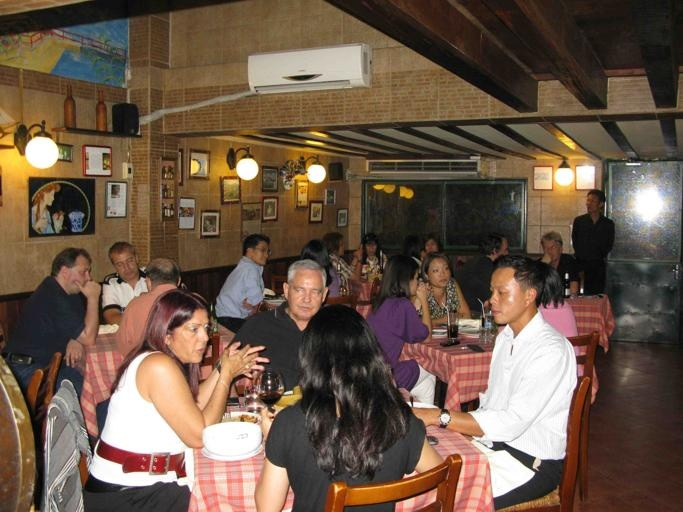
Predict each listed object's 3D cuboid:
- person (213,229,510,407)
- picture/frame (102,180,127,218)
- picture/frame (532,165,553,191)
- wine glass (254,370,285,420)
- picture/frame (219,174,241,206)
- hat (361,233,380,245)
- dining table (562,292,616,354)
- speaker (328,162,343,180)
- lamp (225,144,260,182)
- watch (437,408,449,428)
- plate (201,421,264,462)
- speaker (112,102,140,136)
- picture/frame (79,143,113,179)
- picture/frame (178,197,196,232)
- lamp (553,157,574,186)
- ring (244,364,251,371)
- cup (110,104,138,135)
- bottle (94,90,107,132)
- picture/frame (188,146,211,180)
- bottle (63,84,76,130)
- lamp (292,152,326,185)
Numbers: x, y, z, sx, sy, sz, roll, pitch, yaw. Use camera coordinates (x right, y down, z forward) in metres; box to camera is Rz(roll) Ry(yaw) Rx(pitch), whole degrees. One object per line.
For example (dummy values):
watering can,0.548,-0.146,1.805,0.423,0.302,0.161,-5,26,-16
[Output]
person,0.055,0.555,3.810,1.252,0.496,1.308,3,8,-3
picture/frame,-2.570,-0.638,6.481,0.052,0.419,0.319,2,4,18
picture/frame,3.502,-1.330,9.667,0.411,0.610,0.024,0,2,22
wine glass,-0.316,0.659,2.579,0.106,0.260,0.113,2,9,23
picture/frame,-1.581,-0.939,8.029,0.043,0.388,0.430,3,7,26
hat,0.443,-0.257,8.240,0.170,0.197,0.242,3,4,7
dining table,2.752,0.631,6.063,0.767,0.465,0.798,1,3,31
speaker,-0.089,-1.557,10.384,0.169,0.335,0.332,-3,-3,38
lamp,-1.317,-1.320,8.128,0.490,0.683,0.406,-1,0,29
watch,0.489,0.758,2.626,0.052,0.071,0.074,10,33,3
plate,-0.441,0.772,2.333,0.243,0.136,0.129,0,4,-15
speaker,-2.431,-1.543,6.390,0.201,0.360,0.262,4,8,20
picture/frame,-2.667,-1.033,6.240,0.425,0.330,0.031,6,8,22
picture/frame,-1.965,-0.548,7.267,0.372,0.402,0.023,5,4,37
lamp,3.684,-1.367,9.172,0.293,0.425,0.670,2,4,22
ring,-0.420,0.507,2.564,0.020,0.023,0.016,-3,3,27
cup,-2.424,-1.544,6.386,0.183,0.361,0.249,3,6,32
bottle,-2.621,-1.575,6.179,0.124,0.481,0.335,-1,4,-23
picture/frame,-1.866,-1.210,7.403,0.044,0.388,0.438,1,-6,19
bottle,-2.796,-1.518,5.814,0.117,0.474,0.314,-1,4,-25
lamp,-0.520,-1.445,9.589,0.547,0.536,0.385,-3,10,-11
